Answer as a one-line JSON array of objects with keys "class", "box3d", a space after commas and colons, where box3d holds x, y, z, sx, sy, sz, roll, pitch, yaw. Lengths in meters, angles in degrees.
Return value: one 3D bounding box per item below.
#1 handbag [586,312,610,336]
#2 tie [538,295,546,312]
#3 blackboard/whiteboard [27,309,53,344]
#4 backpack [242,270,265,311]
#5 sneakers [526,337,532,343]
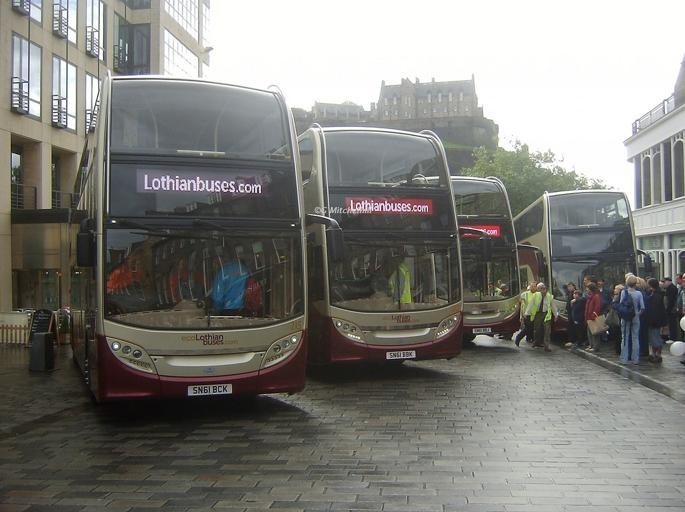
[{"class": "handbag", "box3d": [7.678, 2.005, 18.123, 0.635, 0.730, 0.266, -12, 6, 25]}, {"class": "tie", "box3d": [6.217, 1.520, 18.885, 0.094, 0.411, 0.282, 4, 6, 12]}, {"class": "blackboard/whiteboard", "box3d": [-11.157, 2.648, 22.630, 1.408, 1.241, 0.638, -3, -2, 36]}, {"class": "backpack", "box3d": [-1.343, 0.551, 9.157, 0.268, 0.553, 0.120, -9, 11, -32]}, {"class": "sneakers", "box3d": [6.756, 3.053, 21.802, 0.267, 0.274, 0.148, 1, -4, -14]}]
